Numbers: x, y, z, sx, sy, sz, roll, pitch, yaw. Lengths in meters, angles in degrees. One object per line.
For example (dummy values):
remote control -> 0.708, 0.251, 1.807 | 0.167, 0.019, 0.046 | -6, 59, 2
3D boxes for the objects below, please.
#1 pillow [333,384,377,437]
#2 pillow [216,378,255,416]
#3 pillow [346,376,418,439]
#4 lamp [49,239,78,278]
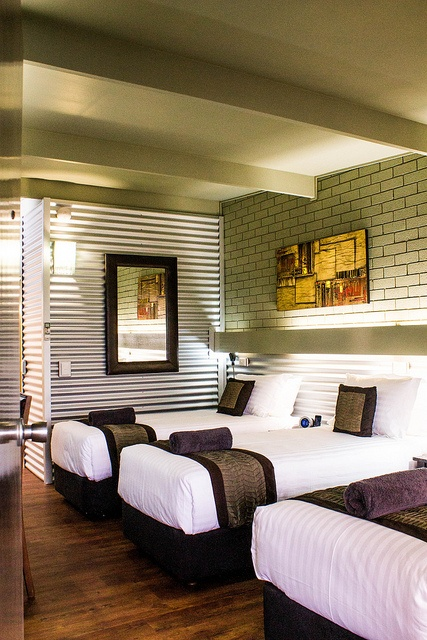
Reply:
pillow -> 1.251, 0.799, 4.230 | 0.141, 0.401, 0.387 | 18, -12, -28
pillow -> 0.266, 0.884, 5.622 | 0.111, 0.393, 0.408 | 31, -17, -29
pillow -> 1.448, 0.765, 4.127 | 0.172, 0.336, 0.461 | 33, -14, -25
lamp -> -1.739, -0.713, 5.615 | 0.275, 0.375, 0.187 | 2, -6, -29
